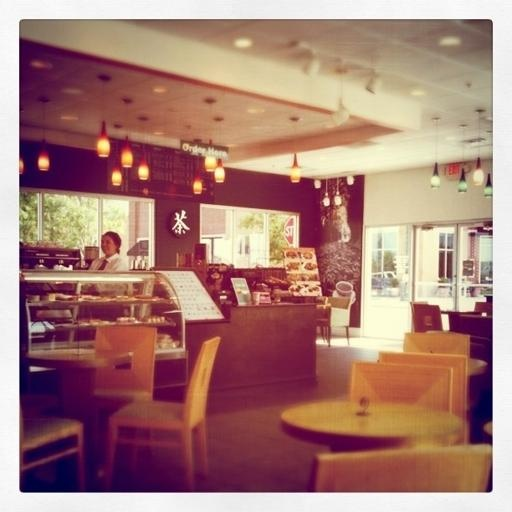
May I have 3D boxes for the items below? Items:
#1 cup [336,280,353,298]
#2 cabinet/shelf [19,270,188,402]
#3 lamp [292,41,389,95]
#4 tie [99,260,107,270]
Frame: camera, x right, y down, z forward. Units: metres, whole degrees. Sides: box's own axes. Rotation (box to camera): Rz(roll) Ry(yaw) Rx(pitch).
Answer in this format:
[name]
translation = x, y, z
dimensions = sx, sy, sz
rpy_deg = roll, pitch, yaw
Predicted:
[cup]
translation = 1.990, 0.742, 10.782
dimensions = 0.332, 0.252, 0.330
rpy_deg = 4, 3, 0
[cabinet/shelf]
translation = -1.208, 0.604, 3.646
dimensions = 0.391, 0.801, 1.113
rpy_deg = -6, -6, 41
[lamp]
translation = 0.744, -1.741, 4.484
dimensions = 0.813, 0.337, 0.789
rpy_deg = 2, 1, 14
[tie]
translation = -1.742, 0.105, 5.456
dimensions = 0.081, 0.114, 0.041
rpy_deg = 22, 11, 41
